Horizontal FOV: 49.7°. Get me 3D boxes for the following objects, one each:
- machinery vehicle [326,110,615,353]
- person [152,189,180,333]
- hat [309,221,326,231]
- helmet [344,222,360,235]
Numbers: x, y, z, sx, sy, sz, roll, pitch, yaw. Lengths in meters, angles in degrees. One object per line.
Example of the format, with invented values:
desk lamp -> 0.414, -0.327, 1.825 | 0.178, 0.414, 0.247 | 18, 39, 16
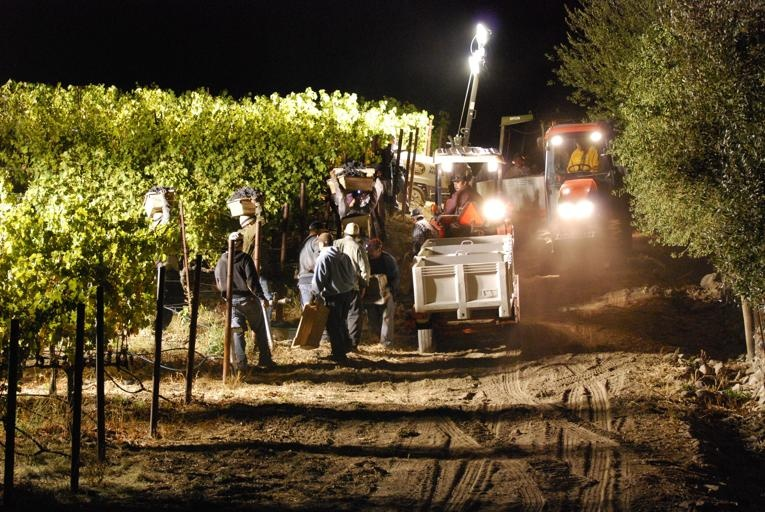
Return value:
machinery vehicle -> 3.229, -0.877, 21.037 | 4.088, 5.297, 8.226 | -2, 5, 4
person -> -4.972, 0.073, 18.833 | 0.647, 2.427, 0.672 | -1, 1, -28
hat -> -1.408, -0.634, 17.996 | 0.190, 0.279, 0.255 | 2, -14, 24
helmet -> -0.673, -0.574, 17.859 | 0.280, 0.301, 0.401 | 1, -7, -10
